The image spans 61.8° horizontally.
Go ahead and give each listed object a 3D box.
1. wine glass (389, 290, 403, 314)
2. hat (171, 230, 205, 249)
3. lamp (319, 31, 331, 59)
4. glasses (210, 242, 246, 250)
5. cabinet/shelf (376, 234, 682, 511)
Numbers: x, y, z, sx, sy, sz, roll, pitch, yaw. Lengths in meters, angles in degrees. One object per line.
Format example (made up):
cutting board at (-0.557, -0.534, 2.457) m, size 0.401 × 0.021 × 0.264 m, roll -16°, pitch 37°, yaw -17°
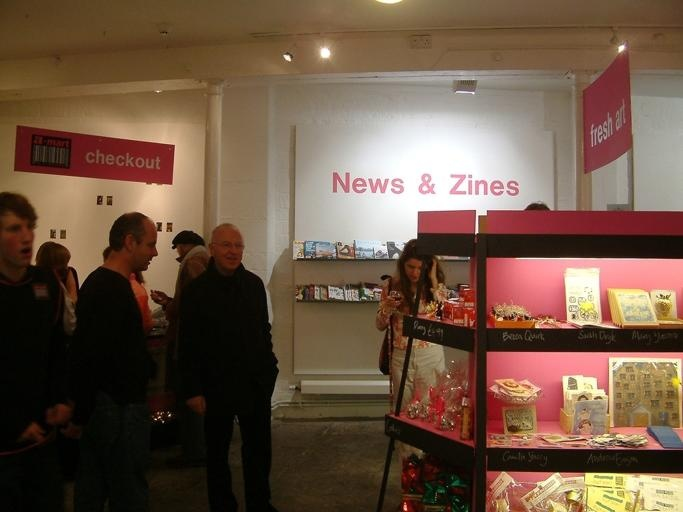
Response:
wine glass at (0.446, 0.345, 4.425) m, size 0.137 × 0.222 × 0.127 m, roll -1°, pitch 4°, yaw 8°
hat at (-1.416, -0.159, 5.235) m, size 0.214 × 0.119 × 0.164 m, roll 8°, pitch -1°, yaw 6°
lamp at (-0.152, -1.997, 5.411) m, size 0.115 × 0.237 × 0.071 m, roll 0°, pitch 1°, yaw -1°
glasses at (-0.836, -0.077, 4.171) m, size 0.222 × 0.056 × 0.072 m, roll -1°, pitch 2°, yaw -15°
cabinet/shelf at (1.268, 0.816, 4.226) m, size 2.062 × 2.081 × 1.558 m, roll 0°, pitch 3°, yaw -2°
